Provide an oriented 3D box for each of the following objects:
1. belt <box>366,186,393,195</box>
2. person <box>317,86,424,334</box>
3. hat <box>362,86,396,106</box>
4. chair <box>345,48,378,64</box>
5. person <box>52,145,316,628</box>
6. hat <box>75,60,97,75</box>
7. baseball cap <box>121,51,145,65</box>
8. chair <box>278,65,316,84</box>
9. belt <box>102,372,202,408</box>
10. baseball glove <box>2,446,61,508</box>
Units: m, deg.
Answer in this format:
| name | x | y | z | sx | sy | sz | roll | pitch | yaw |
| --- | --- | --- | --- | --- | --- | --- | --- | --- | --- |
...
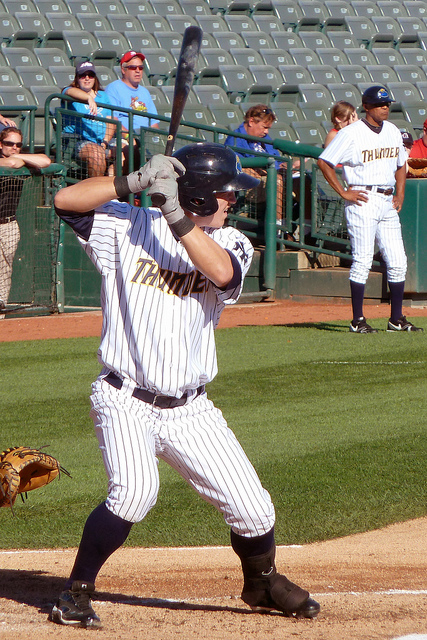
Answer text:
| name | x | y | z | sx | sy | sz | roll | pitch | yaw |
| --- | --- | --- | --- | --- | --- | --- | --- | --- | --- |
| belt | 1.422 | -1.088 | 7.447 | 0.258 | 0.075 | 0.069 | -7 | 11 | -28 |
| person | 1.416 | -0.924 | 7.694 | 0.857 | 2.125 | 0.722 | 0 | 11 | 13 |
| hat | 1.354 | -1.844 | 7.302 | 0.158 | 0.096 | 0.202 | -10 | 11 | -43 |
| chair | 3.024 | -5.271 | 17.719 | 0.798 | 0.309 | 0.190 | -8 | 12 | -33 |
| person | -0.147 | 0.197 | 2.594 | 0.740 | 1.383 | 0.470 | -4 | 11 | -12 |
| hat | -1.353 | -2.678 | 9.347 | 0.248 | 0.179 | 0.335 | -2 | 7 | -13 |
| baseball cap | -0.853 | -2.776 | 9.312 | 0.224 | 0.126 | 0.311 | -3 | 9 | -8 |
| chair | 1.496 | -4.376 | 15.801 | 0.424 | 0.529 | 0.432 | -4 | 14 | -17 |
| belt | -0.171 | 0.198 | 2.523 | 0.283 | 0.103 | 0.112 | -3 | 10 | -7 |
| baseball glove | -0.624 | 0.532 | 2.853 | 0.173 | 0.086 | 0.228 | 12 | -43 | -34 |
